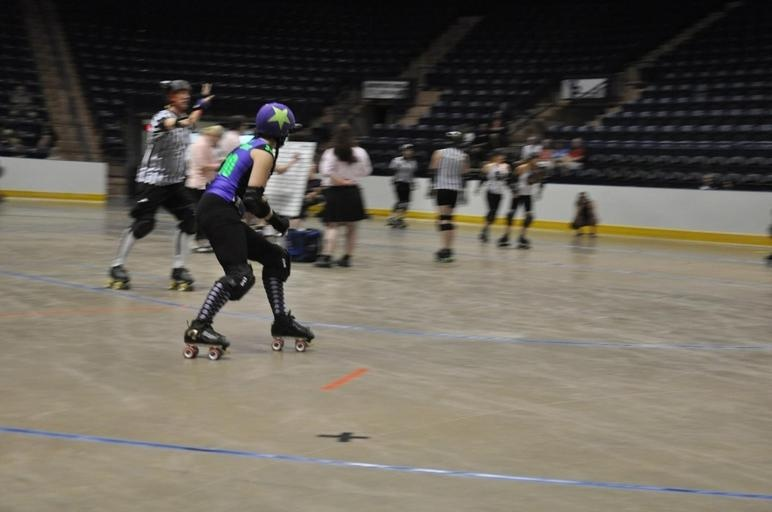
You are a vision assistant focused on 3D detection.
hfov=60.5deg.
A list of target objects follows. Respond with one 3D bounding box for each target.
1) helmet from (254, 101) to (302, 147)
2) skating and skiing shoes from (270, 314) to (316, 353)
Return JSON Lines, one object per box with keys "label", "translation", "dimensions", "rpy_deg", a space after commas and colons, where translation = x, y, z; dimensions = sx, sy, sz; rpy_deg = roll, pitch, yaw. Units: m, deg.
{"label": "helmet", "translation": [-1.053, -1.143, 5.786], "dimensions": [0.471, 0.308, 0.345], "rpy_deg": [4, 20, -17]}
{"label": "skating and skiing shoes", "translation": [-0.842, 0.669, 5.862], "dimensions": [0.415, 0.218, 0.193], "rpy_deg": [8, -5, -16]}
